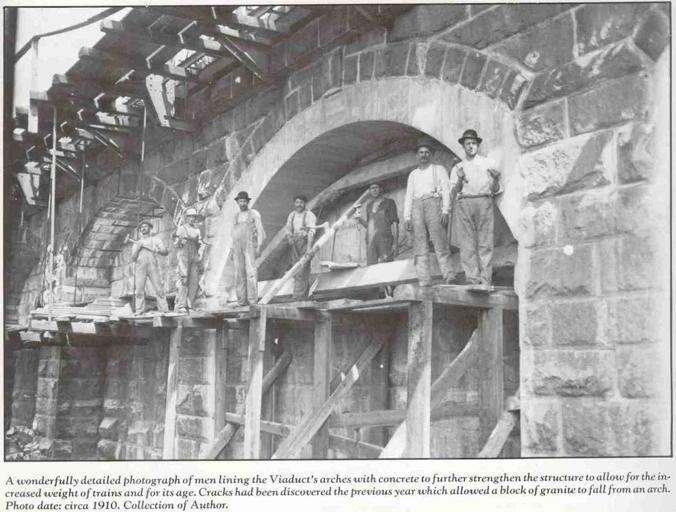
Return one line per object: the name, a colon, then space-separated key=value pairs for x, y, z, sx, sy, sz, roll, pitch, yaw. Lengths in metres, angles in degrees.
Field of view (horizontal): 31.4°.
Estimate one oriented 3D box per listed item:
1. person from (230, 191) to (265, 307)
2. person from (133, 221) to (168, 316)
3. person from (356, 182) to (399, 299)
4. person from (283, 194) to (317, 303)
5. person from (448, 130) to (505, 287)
person: x=-1.111 y=-0.090 z=14.736 sx=0.417 sy=1.349 sz=0.348 roll=-3 pitch=-16 yaw=19
person: x=-2.486 y=0.184 z=16.377 sx=0.740 sy=1.324 sz=0.375 roll=-13 pitch=-21 yaw=43
person: x=0.444 y=-0.347 z=14.087 sx=0.546 sy=0.956 sz=0.552 roll=-4 pitch=-16 yaw=23
person: x=-0.464 y=-0.099 z=14.237 sx=0.357 sy=1.232 sz=0.514 roll=3 pitch=-15 yaw=-3
person: x=1.363 y=-0.476 z=12.223 sx=0.498 sy=1.620 sz=0.461 roll=0 pitch=-15 yaw=6
